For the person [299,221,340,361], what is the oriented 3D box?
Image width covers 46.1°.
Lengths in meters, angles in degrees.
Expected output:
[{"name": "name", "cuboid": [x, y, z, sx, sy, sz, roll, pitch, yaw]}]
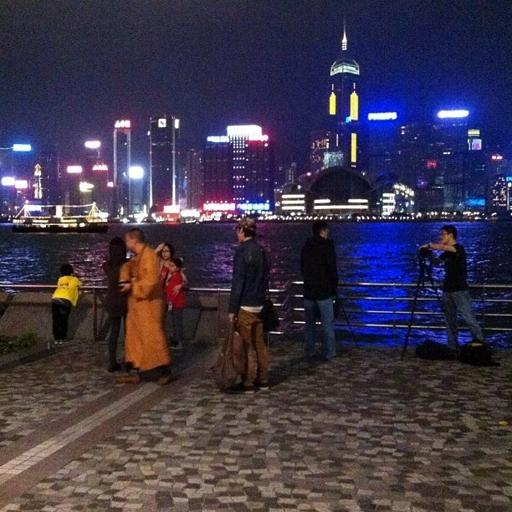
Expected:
[{"name": "person", "cuboid": [0.928, 0.496, 8.786, 0.545, 2.024, 0.710, 0, 2, 4]}]

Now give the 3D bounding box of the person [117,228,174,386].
[{"name": "person", "cuboid": [-1.314, 0.616, 7.130, 0.603, 1.875, 0.473, 0, 2, -9]}]

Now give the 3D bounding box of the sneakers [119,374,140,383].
[{"name": "sneakers", "cuboid": [-1.531, 1.494, 7.342, 0.251, 0.112, 0.110, 5, 0, 4]}]

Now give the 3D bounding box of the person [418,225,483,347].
[{"name": "person", "cuboid": [2.901, 0.463, 8.709, 0.771, 1.827, 1.091, 2, 3, 36]}]

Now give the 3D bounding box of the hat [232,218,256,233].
[{"name": "hat", "cuboid": [-0.114, -0.368, 7.001, 0.154, 0.109, 0.209, -6, 16, -42]}]

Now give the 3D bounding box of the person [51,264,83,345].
[{"name": "person", "cuboid": [-3.043, 0.767, 9.624, 0.437, 1.288, 0.397, -1, 3, -18]}]
